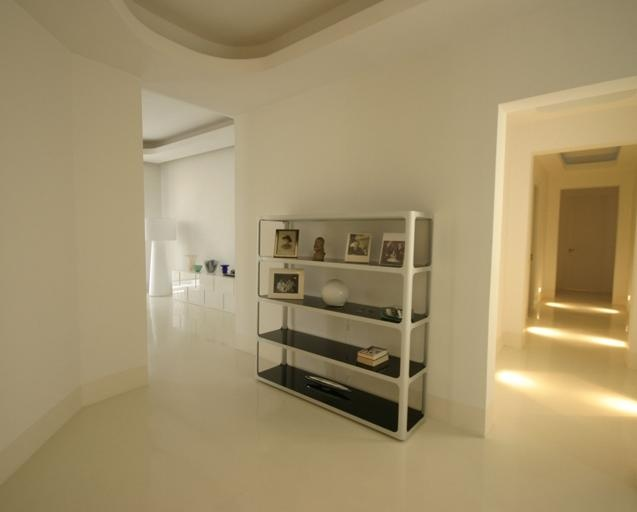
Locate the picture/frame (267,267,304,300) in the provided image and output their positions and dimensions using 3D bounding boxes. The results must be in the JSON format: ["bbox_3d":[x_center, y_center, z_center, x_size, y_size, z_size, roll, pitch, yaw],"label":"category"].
[{"bbox_3d":[-0.300,0.253,4.249,0.238,0.248,0.018,0,-6,5],"label":"picture/frame"}]

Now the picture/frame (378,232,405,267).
[{"bbox_3d":[0.595,-0.055,3.690,0.037,0.321,0.252,12,-8,-37],"label":"picture/frame"}]

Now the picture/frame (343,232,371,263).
[{"bbox_3d":[0.336,-0.076,3.888,0.225,0.298,0.036,1,-9,39],"label":"picture/frame"}]

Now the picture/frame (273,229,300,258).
[{"bbox_3d":[-0.300,-0.124,4.287,0.232,0.310,0.021,0,-8,20],"label":"picture/frame"}]
